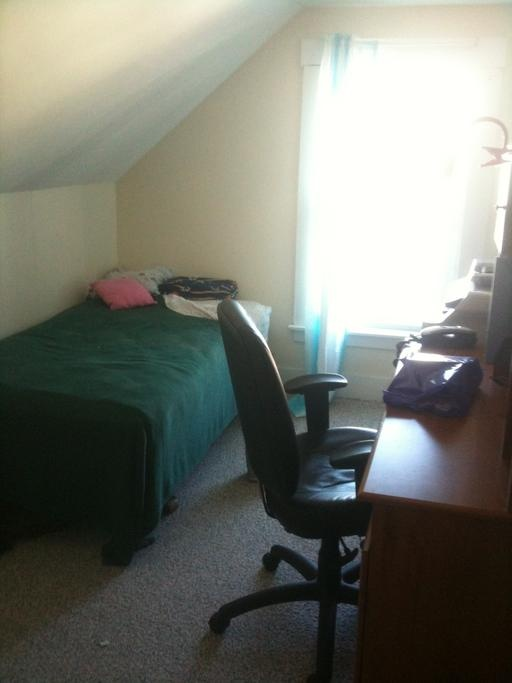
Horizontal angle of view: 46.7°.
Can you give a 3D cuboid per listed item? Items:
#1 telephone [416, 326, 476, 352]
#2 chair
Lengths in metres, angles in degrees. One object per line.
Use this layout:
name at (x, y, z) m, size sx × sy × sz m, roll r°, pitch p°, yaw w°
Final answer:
telephone at (0.677, -0.007, 2.072) m, size 0.152 × 0.068 × 0.091 m, roll 1°, pitch 20°, yaw 9°
chair at (0.106, 0.367, 1.635) m, size 0.420 × 0.974 × 0.598 m, roll 5°, pitch 21°, yaw 12°
